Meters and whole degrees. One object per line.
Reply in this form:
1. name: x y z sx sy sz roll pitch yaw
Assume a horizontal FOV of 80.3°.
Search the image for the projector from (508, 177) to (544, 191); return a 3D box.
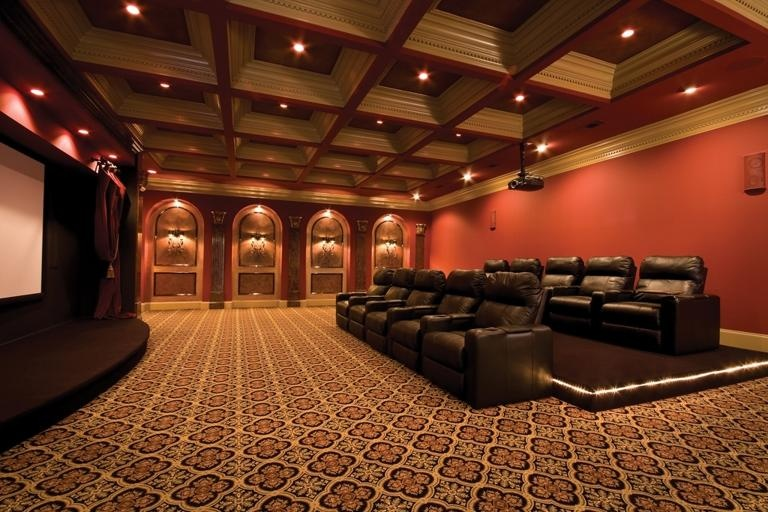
1. projector: 2.721 -1.368 8.631 0.450 0.142 0.361 0 1 -16
